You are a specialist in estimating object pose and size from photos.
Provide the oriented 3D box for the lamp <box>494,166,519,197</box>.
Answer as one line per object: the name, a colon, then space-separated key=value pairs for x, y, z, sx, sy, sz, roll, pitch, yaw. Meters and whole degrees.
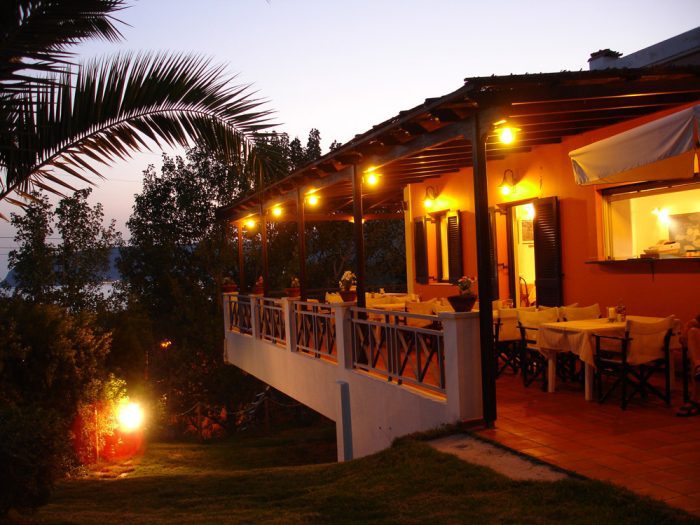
lamp: x=3.004 y=-1.557 z=10.882 sx=0.471 sy=0.710 sz=0.338 roll=0 pitch=0 yaw=0

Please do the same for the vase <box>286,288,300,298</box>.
vase: x=-1.390 y=0.739 z=13.936 sx=0.263 sy=0.115 sz=0.254 roll=0 pitch=2 yaw=-36
